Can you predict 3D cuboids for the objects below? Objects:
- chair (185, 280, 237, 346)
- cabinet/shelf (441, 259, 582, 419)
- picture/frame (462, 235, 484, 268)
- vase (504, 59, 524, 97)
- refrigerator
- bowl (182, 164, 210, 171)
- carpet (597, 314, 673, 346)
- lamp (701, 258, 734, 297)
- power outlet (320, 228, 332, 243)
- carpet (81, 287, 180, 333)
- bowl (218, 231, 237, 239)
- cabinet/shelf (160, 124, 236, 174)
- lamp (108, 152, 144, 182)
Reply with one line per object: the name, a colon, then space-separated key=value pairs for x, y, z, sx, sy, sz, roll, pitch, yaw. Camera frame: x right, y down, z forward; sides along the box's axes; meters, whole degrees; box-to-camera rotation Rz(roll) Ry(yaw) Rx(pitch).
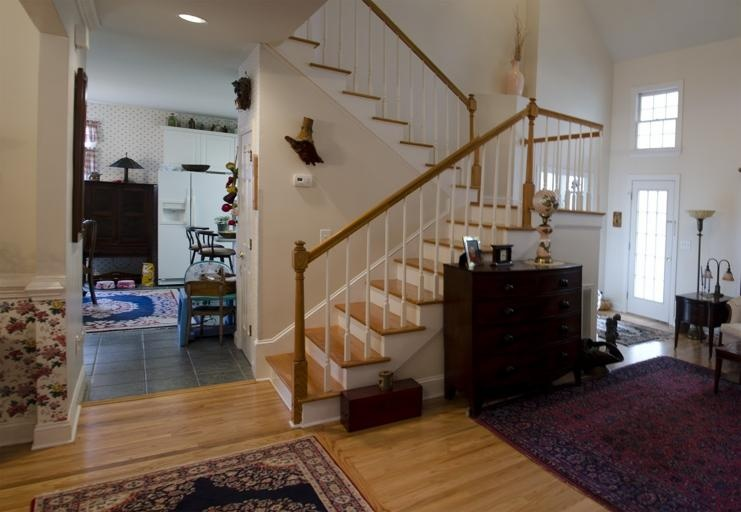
chair: x=-2.041 y=0.669 z=6.611 sx=0.631 sy=0.786 sz=0.775 roll=-1 pitch=5 yaw=-14
cabinet/shelf: x=1.505 y=0.791 z=5.383 sx=1.405 sy=1.372 sz=0.784 roll=-4 pitch=4 yaw=-24
picture/frame: x=1.027 y=-0.036 z=5.187 sx=0.037 sy=0.352 sz=0.323 roll=-15 pitch=-7 yaw=41
vase: x=2.055 y=-2.533 z=7.381 sx=0.243 sy=0.602 sz=0.657 roll=1 pitch=5 yaw=14
refrigerator: x=-3.450 y=-0.393 z=9.514 sx=1.218 sy=2.012 sz=0.731 roll=4 pitch=-17 yaw=-38
bowl: x=-3.146 y=-1.604 z=9.323 sx=0.480 sy=0.162 sz=0.452 roll=0 pitch=5 yaw=0
carpet: x=3.869 y=1.112 z=7.406 sx=0.740 sy=0.079 sz=1.460 roll=4 pitch=6 yaw=37
lamp: x=5.028 y=0.320 z=7.449 sx=0.208 sy=0.649 sz=0.546 roll=0 pitch=-1 yaw=-23
power outlet: x=-0.477 y=-0.216 z=5.466 sx=0.166 sy=0.186 sz=0.056 roll=2 pitch=1 yaw=-30
carpet: x=-3.608 y=0.783 z=7.684 sx=1.281 sy=0.035 sz=1.440 roll=1 pitch=21 yaw=-31
bowl: x=-2.120 y=-0.306 z=7.640 sx=0.208 sy=0.109 sz=0.317 roll=-2 pitch=5 yaw=-26
cabinet/shelf: x=-3.203 y=-1.941 z=9.430 sx=1.356 sy=1.241 sz=0.493 roll=-3 pitch=6 yaw=-29
lamp: x=-4.359 y=-1.565 z=9.238 sx=0.558 sy=0.496 sz=0.474 roll=-2 pitch=5 yaw=-25
